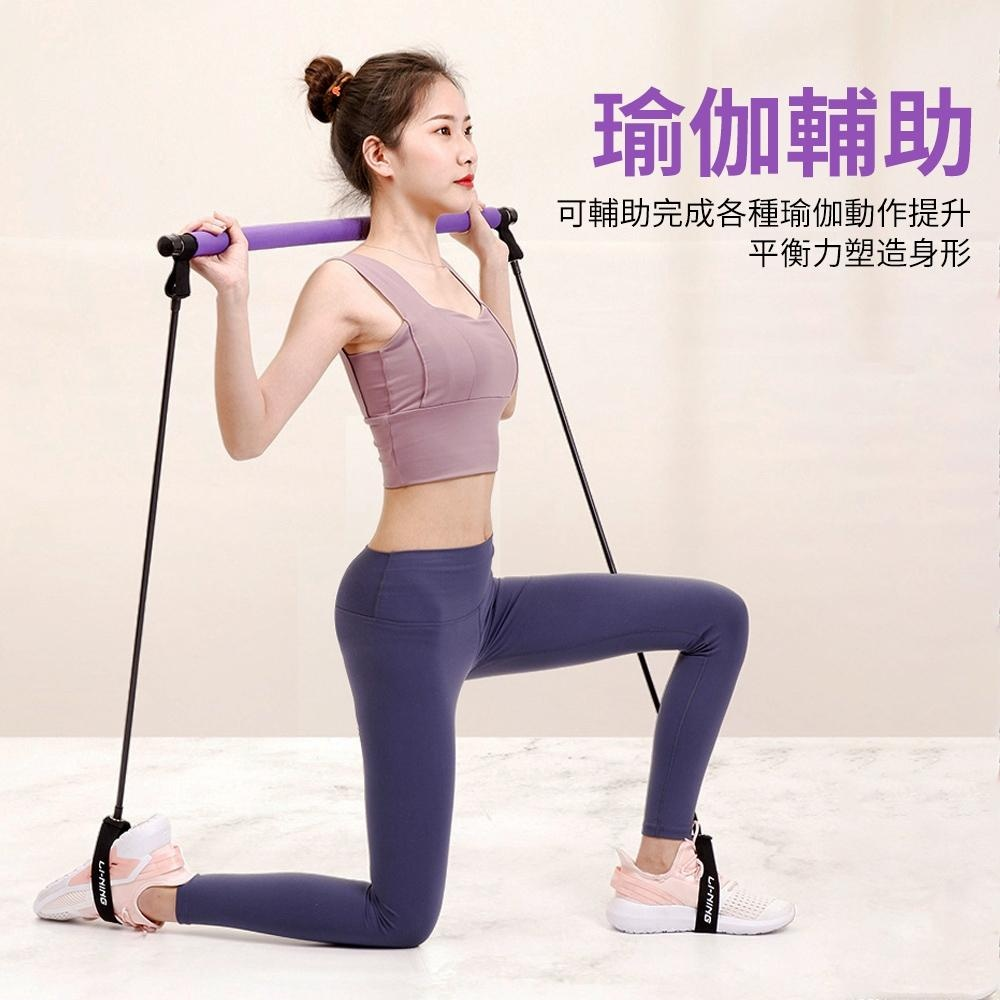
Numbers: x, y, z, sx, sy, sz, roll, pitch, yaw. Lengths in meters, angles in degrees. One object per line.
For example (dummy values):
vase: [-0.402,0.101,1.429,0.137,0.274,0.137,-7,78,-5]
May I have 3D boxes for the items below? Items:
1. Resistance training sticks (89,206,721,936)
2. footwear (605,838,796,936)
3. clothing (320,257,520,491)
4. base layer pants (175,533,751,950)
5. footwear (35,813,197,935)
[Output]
Resistance training sticks: [-0.206,0.097,2.727,1.660,1.573,0.177,-11,6,-2]
footwear: [0.340,0.661,2.076,0.347,0.135,0.101,5,-4,-8]
clothing: [-0.097,-0.228,1.970,0.255,0.374,0.294,-6,0,36]
base layer pants: [-0.057,0.393,2.011,0.902,0.652,0.284,0,1,-21]
footwear: [-0.667,0.635,2.067,0.375,0.162,0.113,-8,-3,21]
